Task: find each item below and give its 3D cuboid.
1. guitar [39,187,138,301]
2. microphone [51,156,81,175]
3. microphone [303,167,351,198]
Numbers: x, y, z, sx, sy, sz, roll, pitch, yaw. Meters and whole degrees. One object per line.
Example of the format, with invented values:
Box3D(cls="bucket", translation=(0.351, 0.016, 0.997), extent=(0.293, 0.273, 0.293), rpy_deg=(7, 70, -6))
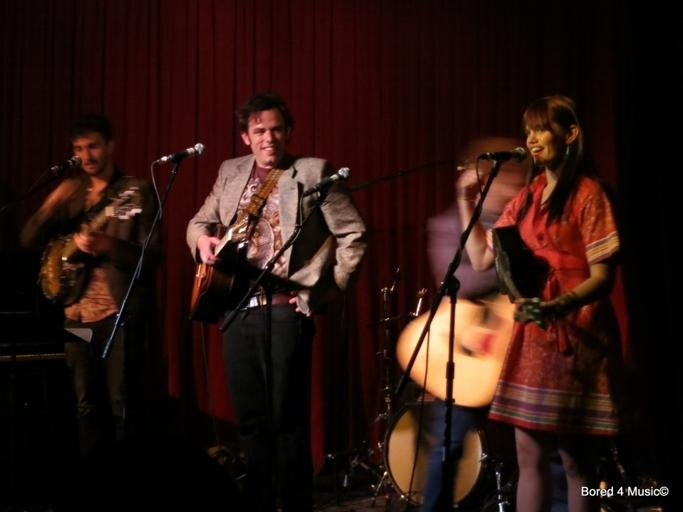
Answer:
Box3D(cls="guitar", translation=(-1.623, -0.061, 4.352), extent=(0.336, 0.883, 0.131), rpy_deg=(35, 3, 11))
Box3D(cls="microphone", translation=(-1.680, -0.547, 4.199), extent=(0.158, 0.119, 0.201), rpy_deg=(1, 3, 3))
Box3D(cls="microphone", translation=(-0.085, -0.392, 3.660), extent=(0.231, 0.138, 0.265), rpy_deg=(1, 3, -7))
